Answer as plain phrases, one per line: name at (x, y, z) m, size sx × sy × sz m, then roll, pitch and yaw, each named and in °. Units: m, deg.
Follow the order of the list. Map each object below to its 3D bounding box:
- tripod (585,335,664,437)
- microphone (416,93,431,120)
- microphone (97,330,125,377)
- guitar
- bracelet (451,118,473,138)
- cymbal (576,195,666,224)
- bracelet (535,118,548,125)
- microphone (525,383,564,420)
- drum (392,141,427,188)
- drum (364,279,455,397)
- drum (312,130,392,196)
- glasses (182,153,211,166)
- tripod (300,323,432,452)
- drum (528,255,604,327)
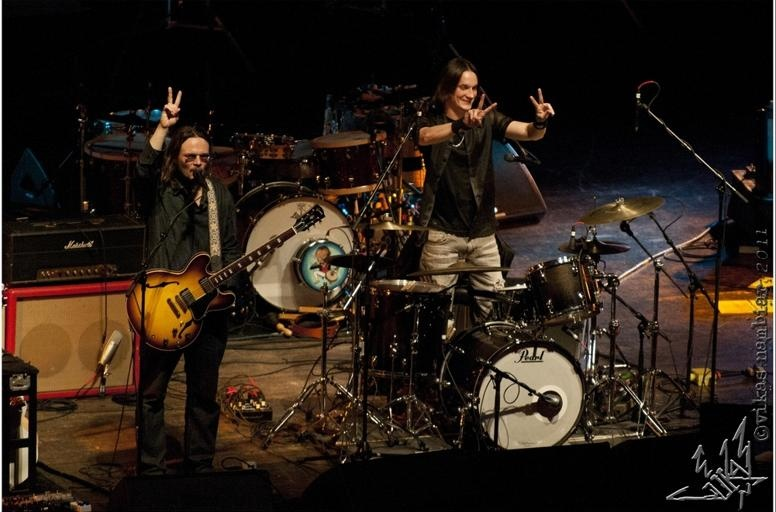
tripod at (2.029, 1.115, 6.833) m, size 0.649 × 0.891 × 0.844 m, roll -2°, pitch -1°, yaw -23°
microphone at (0.278, -1.151, 6.127) m, size 0.148 × 0.183 × 0.299 m, roll 8°, pitch 13°, yaw 11°
microphone at (-2.520, 0.886, 7.117) m, size 0.241 × 0.363 × 0.146 m, roll -2°, pitch -1°, yaw -20°
guitar at (-1.415, 0.168, 6.885) m, size 1.643 × 0.575 × 0.218 m, roll -29°, pitch 12°, yaw -16°
bracelet at (0.558, -0.987, 6.080) m, size 0.138 × 0.120 × 0.247 m, roll -2°, pitch -1°, yaw -3°
cymbal at (1.979, -0.378, 6.626) m, size 0.614 × 0.246 × 0.373 m, roll -2°, pitch -1°, yaw -15°
bracelet at (1.264, -1.086, 6.409) m, size 0.065 × 0.025 × 0.055 m, roll 3°, pitch 0°, yaw -17°
microphone at (1.258, 1.216, 6.370) m, size 0.252 × 0.243 × 0.274 m, roll -28°, pitch -22°, yaw 15°
drum at (0.298, -1.003, 8.808) m, size 0.574 × 0.559 × 0.545 m, roll -2°, pitch 10°, yaw -2°
drum at (0.149, 0.639, 6.553) m, size 0.863 × 0.779 × 0.822 m, roll 3°, pitch 6°, yaw 3°
drum at (-0.406, -1.038, 8.567) m, size 0.813 × 0.675 × 0.862 m, roll -2°, pitch -1°, yaw 0°
glasses at (-1.424, -0.714, 5.909) m, size 0.216 × 0.069 × 0.102 m, roll -1°, pitch -1°, yaw -37°
tripod at (-0.193, 1.083, 6.498) m, size 1.090 × 0.991 × 1.068 m, roll 7°, pitch 6°, yaw 23°
drum at (1.381, 0.306, 6.501) m, size 0.595 × 0.402 × 0.567 m, roll -14°, pitch -20°, yaw -5°
